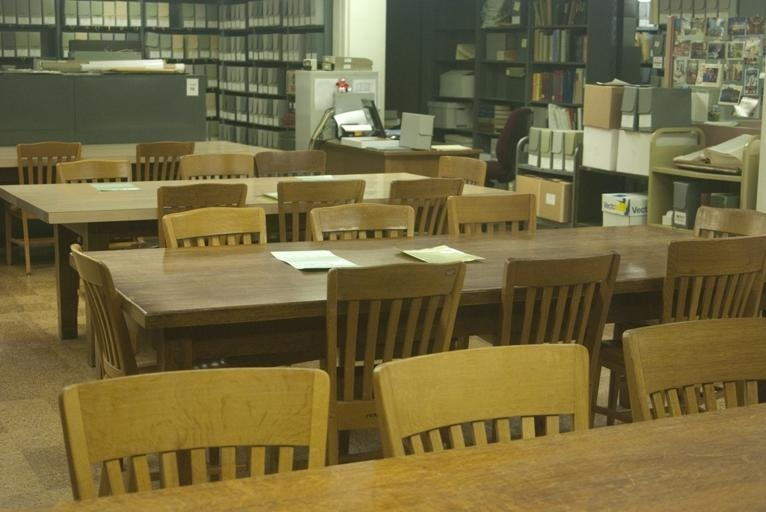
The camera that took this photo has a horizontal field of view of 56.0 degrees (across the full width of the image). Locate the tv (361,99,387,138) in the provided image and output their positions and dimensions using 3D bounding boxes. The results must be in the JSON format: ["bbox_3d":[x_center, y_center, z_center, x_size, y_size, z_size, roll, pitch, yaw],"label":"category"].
[{"bbox_3d":[-0.084,-1.499,7.803,0.235,0.378,0.613,-1,14,-9],"label":"tv"}]

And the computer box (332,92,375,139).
[{"bbox_3d":[-0.341,-1.529,8.109,0.532,0.490,0.568,-11,10,-4],"label":"computer box"}]

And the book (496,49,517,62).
[{"bbox_3d":[1.617,-2.640,9.504,0.202,0.110,0.194,-5,11,-33],"label":"book"}]

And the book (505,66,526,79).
[{"bbox_3d":[1.750,-2.422,9.480,0.228,0.094,0.156,2,10,5],"label":"book"}]

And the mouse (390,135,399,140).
[{"bbox_3d":[0.127,-1.269,7.678,0.101,0.032,0.068,-6,14,-21],"label":"mouse"}]
